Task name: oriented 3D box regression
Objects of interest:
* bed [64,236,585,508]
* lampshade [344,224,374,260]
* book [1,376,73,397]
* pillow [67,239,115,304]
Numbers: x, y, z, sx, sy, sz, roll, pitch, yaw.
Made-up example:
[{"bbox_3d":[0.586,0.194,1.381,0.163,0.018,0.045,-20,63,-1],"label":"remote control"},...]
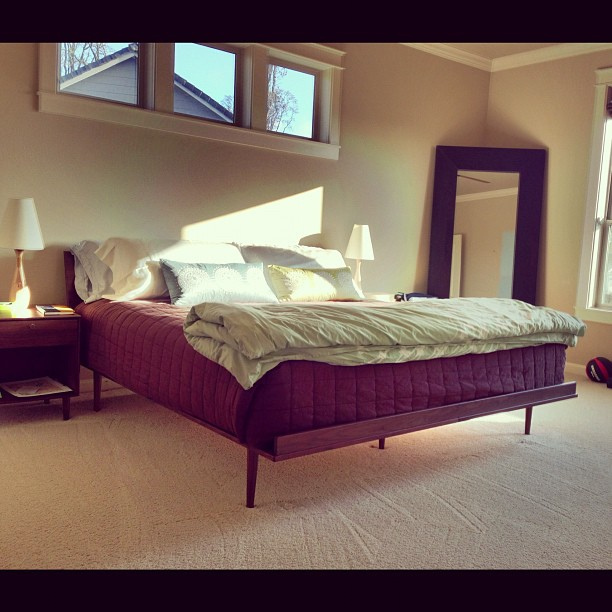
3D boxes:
[{"bbox_3d":[0.020,0.163,3.058,2.029,1.040,1.948,-1,6,-36],"label":"bed"},{"bbox_3d":[0.442,-0.537,4.476,0.275,0.363,0.265,-2,7,-25],"label":"lampshade"},{"bbox_3d":[-1.533,0.458,3.006,0.416,0.026,0.288,6,6,38],"label":"book"},{"bbox_3d":[-1.346,-0.220,3.376,0.341,0.371,0.107,-18,15,-41],"label":"pillow"}]
